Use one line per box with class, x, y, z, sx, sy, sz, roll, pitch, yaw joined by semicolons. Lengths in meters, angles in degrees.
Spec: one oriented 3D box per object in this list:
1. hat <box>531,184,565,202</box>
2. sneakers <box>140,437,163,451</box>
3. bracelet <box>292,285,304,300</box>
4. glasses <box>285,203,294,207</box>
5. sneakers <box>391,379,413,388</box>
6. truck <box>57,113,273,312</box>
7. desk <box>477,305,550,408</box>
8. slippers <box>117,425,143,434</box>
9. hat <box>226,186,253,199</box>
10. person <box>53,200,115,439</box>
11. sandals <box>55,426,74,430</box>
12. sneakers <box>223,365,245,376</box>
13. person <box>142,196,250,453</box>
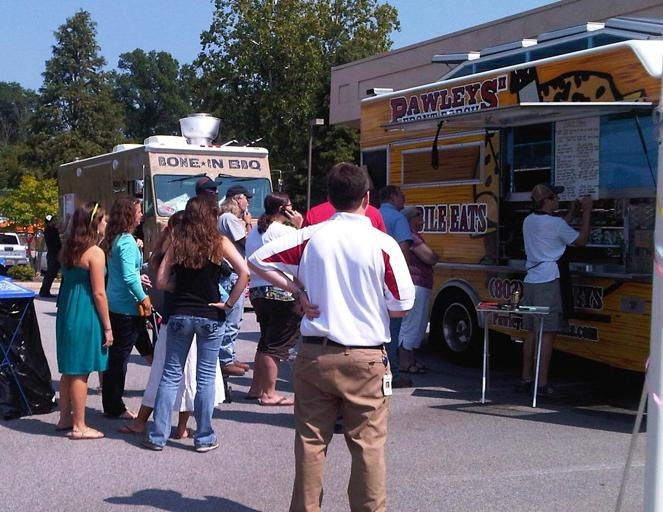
hat;2.380;-0.725;7.007;0.310;0.132;0.198;-13;13;-21
sneakers;-1.518;1.597;5.459;0.205;0.095;0.078;24;12;21
bracelet;-0.206;0.224;3.876;0.056;0.083;0.031;5;-12;38
glasses;-0.450;-0.534;6.678;0.051;0.016;0.054;-1;-22;-29
sneakers;0.814;1.474;7.431;0.227;0.107;0.095;-2;1;-10
truck;-3.992;-1.201;14.733;3.029;3.522;5.507;-1;0;-35
desk;1.970;1.070;7.033;0.717;1.030;0.729;3;-1;24
slippers;-1.833;1.565;5.827;0.192;0.057;0.092;5;0;-1
hat;-1.123;-0.786;7.763;0.224;0.129;0.177;-10;4;-19
person;-2.241;0.559;5.763;0.464;2.069;0.544;-2;4;-25
sandals;-2.445;1.566;5.846;0.145;0.047;0.055;-2;-2;9
sneakers;-1.165;1.348;7.624;0.261;0.190;0.093;-6;44;-16
person;-1.129;0.578;5.346;0.856;2.145;0.355;-1;4;-11
